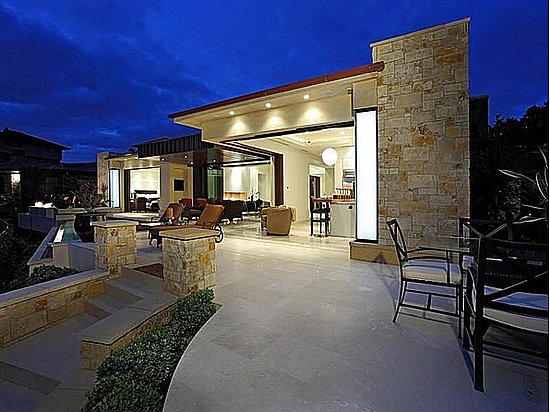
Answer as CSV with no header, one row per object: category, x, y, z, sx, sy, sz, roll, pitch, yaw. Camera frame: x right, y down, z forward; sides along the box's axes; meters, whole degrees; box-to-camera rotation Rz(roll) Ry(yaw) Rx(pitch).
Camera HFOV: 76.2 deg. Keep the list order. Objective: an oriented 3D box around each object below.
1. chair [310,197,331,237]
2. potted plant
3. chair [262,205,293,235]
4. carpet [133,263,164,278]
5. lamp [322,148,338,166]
chair,1.470,0.247,11.215,0.669,0.963,1.030,-12,-16,10
potted plant,-4.301,0.080,8.228,0.757,1.197,0.680,5,3,9
chair,0.159,0.205,10.512,0.920,0.964,1.231,0,19,-11
carpet,-2.083,1.109,6.061,0.448,0.068,0.846,-6,8,-44
lamp,1.687,-1.540,10.708,0.377,0.470,0.448,1,6,18
